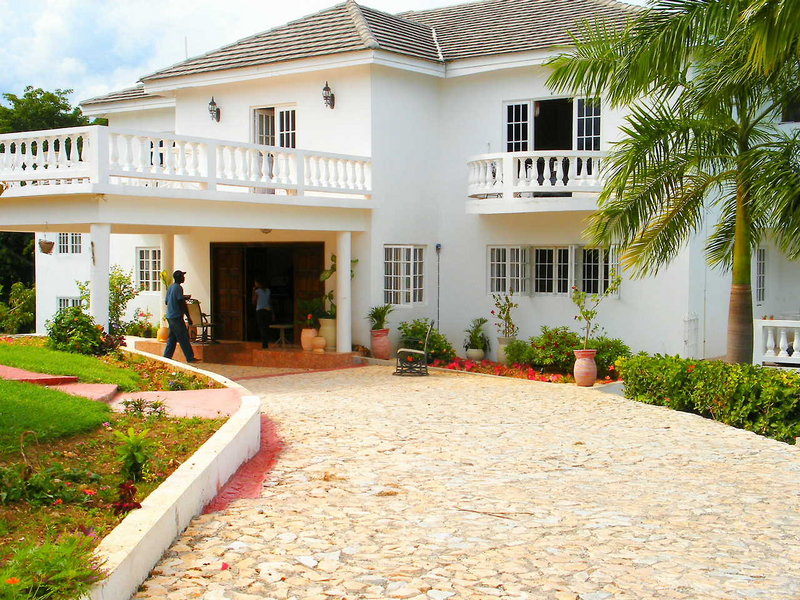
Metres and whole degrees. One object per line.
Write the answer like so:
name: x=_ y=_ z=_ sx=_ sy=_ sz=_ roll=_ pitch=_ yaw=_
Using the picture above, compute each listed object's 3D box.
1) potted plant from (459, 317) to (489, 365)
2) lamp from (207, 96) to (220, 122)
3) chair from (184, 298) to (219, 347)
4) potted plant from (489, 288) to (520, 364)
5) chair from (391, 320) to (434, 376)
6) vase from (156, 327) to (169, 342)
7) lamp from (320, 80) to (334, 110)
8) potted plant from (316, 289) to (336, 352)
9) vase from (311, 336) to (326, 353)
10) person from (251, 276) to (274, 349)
potted plant: x=2.197 y=1.069 z=20.547 sx=0.729 sy=1.205 sz=0.585 roll=5 pitch=4 yaw=9
lamp: x=-5.661 y=-5.762 z=21.804 sx=0.322 sy=0.735 sz=0.206 roll=5 pitch=4 yaw=22
chair: x=-5.854 y=0.564 z=21.040 sx=0.837 sy=1.170 sz=0.905 roll=-3 pitch=3 yaw=-3
potted plant: x=2.965 y=0.720 z=20.052 sx=0.699 sy=1.862 sz=1.095 roll=3 pitch=4 yaw=-10
chair: x=0.317 y=1.129 z=17.664 sx=0.923 sy=1.385 sz=0.906 roll=3 pitch=-1 yaw=2
vase: x=-7.323 y=1.059 z=22.166 sx=0.371 sy=0.392 sz=0.373 roll=-7 pitch=13 yaw=-40
lamp: x=-2.041 y=-5.682 z=19.943 sx=0.334 sy=0.754 sz=0.428 roll=0 pitch=5 yaw=-41
potted plant: x=-1.956 y=0.527 z=19.394 sx=0.500 sy=1.557 sz=0.752 roll=3 pitch=4 yaw=-9
vase: x=-2.144 y=1.172 z=19.039 sx=0.338 sy=0.372 sz=0.360 roll=-1 pitch=5 yaw=-10
person: x=-3.967 y=0.365 z=20.583 sx=0.543 sy=1.830 sz=1.482 roll=3 pitch=4 yaw=-11
